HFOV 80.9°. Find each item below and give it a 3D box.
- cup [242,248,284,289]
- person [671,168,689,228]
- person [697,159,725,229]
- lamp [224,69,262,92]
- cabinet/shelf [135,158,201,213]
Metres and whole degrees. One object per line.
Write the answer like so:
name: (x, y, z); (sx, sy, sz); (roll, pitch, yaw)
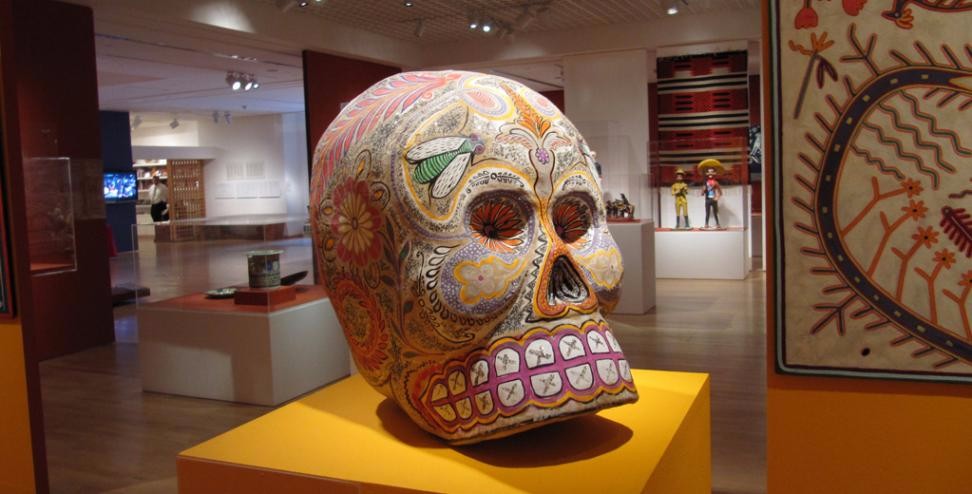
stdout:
cup: (-1.882, 0.178, 4.925); (0.320, 0.294, 0.315); (-1, -1, 0)
person: (3.187, -0.824, 9.313); (0.276, 0.975, 0.223); (-1, 10, 5)
person: (3.589, -0.891, 9.132); (0.390, 1.099, 0.293); (0, 10, 13)
lamp: (-4.251, -2.970, 9.903); (0.433, 0.288, 0.616); (-5, 11, -17)
cabinet/shelf: (-8.849, -1.785, 15.995); (2.066, 1.874, 0.626); (0, 7, -1)
